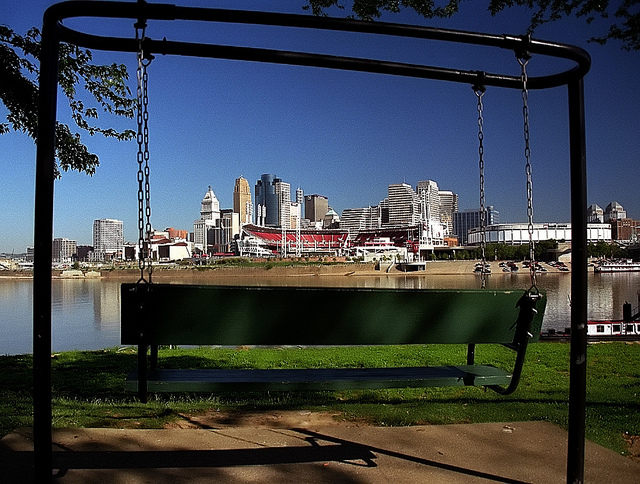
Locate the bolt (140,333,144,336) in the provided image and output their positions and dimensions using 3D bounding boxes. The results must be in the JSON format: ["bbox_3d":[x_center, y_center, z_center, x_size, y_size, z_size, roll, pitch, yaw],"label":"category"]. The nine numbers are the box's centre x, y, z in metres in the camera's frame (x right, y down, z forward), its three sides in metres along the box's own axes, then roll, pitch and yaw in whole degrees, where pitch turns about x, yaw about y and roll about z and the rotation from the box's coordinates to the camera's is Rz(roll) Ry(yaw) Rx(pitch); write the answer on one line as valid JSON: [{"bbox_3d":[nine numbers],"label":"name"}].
[{"bbox_3d":[-1.668,0.868,6.506,0.037,0.021,0.003,-6,-1,-1],"label":"bolt"}]

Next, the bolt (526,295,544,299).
[{"bbox_3d":[2.100,0.532,6.762,0.180,0.040,0.042,-6,-1,-16],"label":"bolt"}]

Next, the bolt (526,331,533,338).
[{"bbox_3d":[2.049,0.907,6.785,0.071,0.015,0.038,22,-3,10],"label":"bolt"}]

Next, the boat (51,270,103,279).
[{"bbox_3d":[-29.176,4.017,83.930,5.267,0.936,4.375,-6,-2,-20],"label":"boat"}]
